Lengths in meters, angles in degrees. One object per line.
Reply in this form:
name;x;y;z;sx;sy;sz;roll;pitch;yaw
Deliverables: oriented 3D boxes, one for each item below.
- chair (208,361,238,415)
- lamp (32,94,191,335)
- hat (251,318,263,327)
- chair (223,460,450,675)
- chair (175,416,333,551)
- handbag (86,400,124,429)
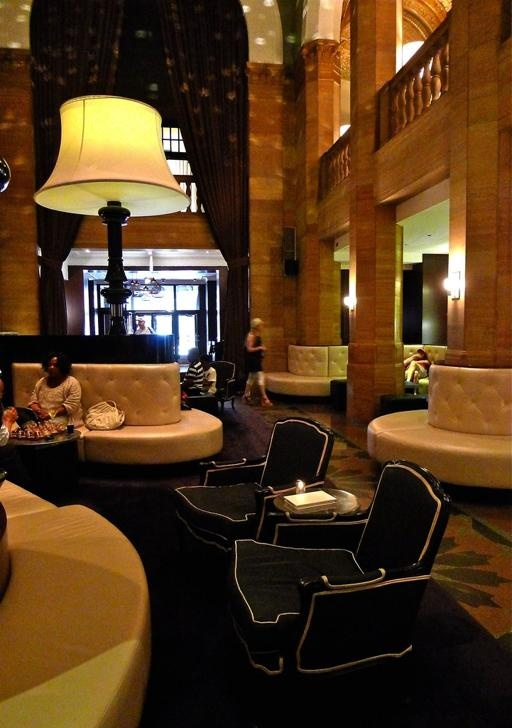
chair;-0.599;0.340;8.520;0.531;0.693;0.583;4;8;27
lamp;-0.831;-0.969;3.351;0.876;1.275;1.114;-2;5;-21
hat;-0.002;-0.612;8.645;0.137;0.117;0.289;-1;4;-6
chair;0.261;0.707;2.068;0.715;0.634;0.616;-2;4;-13
chair;-0.008;0.658;3.085;0.795;0.701;0.614;-1;5;-37
handbag;-1.294;0.416;4.845;0.266;0.108;0.222;-1;19;-36
